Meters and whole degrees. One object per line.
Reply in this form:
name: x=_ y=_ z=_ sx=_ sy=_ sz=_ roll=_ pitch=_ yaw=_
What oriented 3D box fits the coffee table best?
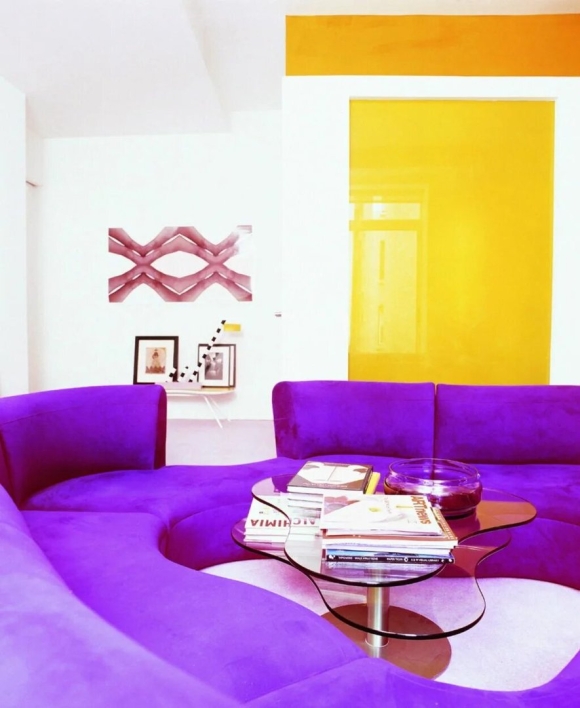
coffee table: x=0.246 y=0.550 z=1.445 sx=0.608 sy=0.229 sz=0.501 roll=2 pitch=9 yaw=-2

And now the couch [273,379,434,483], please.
couch: x=0.312 y=0.274 z=2.578 sx=0.617 sy=0.322 sz=0.336 roll=-2 pitch=-12 yaw=21

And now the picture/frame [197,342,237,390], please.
picture/frame: x=-0.628 y=0.110 z=5.269 sx=0.410 sy=0.469 sz=0.167 roll=0 pitch=-4 yaw=4

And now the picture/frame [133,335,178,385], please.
picture/frame: x=-1.164 y=0.056 z=5.333 sx=0.432 sy=0.469 sz=0.039 roll=1 pitch=-4 yaw=0
